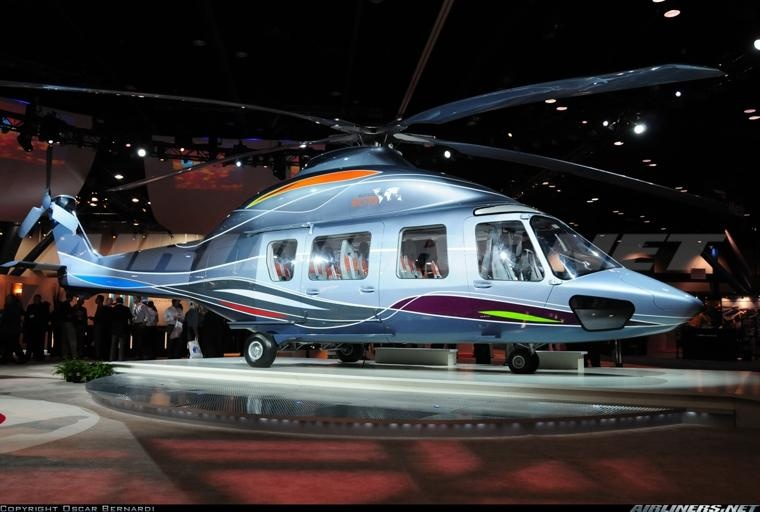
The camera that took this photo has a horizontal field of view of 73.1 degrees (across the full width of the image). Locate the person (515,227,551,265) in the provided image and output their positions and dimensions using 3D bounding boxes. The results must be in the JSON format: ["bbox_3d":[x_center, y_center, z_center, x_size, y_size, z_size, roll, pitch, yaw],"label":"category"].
[{"bbox_3d":[2.449,-0.109,8.393,0.625,0.645,0.313,-1,1,26],"label":"person"}]

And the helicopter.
[{"bbox_3d":[-0.280,-0.208,10.783,10.978,2.217,6.938,0,0,23],"label":"helicopter"}]
